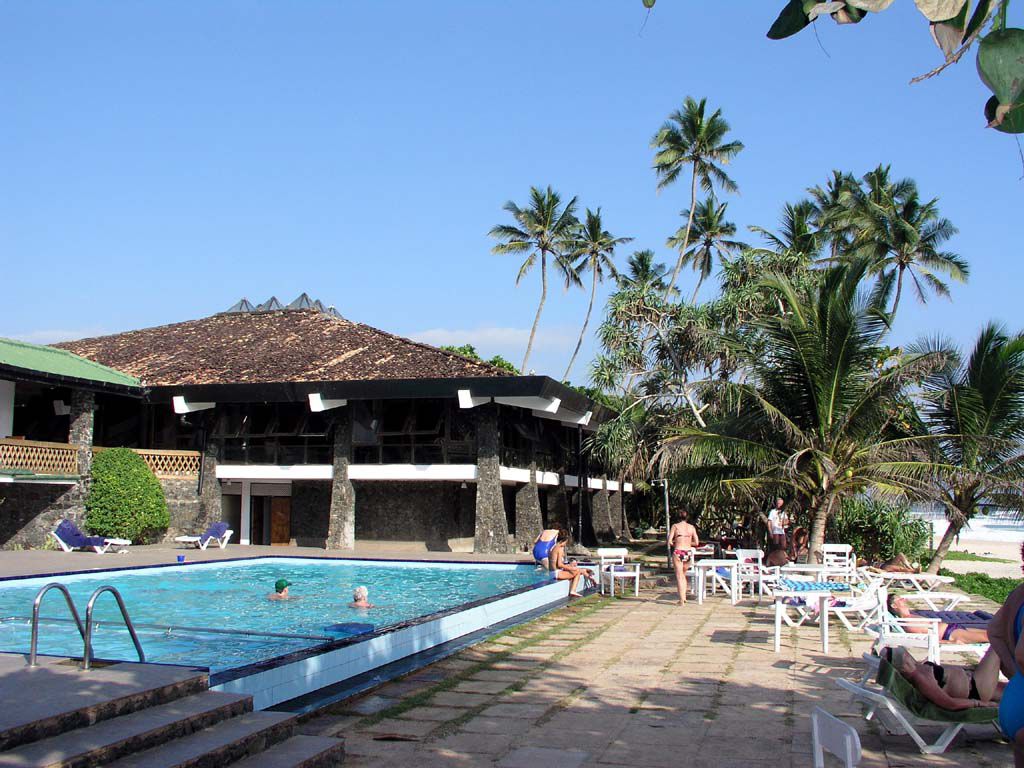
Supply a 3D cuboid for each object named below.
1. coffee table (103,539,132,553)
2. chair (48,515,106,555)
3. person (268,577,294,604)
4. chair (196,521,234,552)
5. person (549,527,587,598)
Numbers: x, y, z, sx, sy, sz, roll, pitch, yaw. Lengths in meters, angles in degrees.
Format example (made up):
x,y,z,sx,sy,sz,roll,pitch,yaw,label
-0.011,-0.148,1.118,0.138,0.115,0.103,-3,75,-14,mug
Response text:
x,y,z,sx,sy,sz,roll,pitch,yaw,label
-11.835,4.891,22.989,0.537,0.369,1.238,3,-10,-18,coffee table
-12.816,4.593,22.881,1.628,0.967,0.989,1,-3,0,chair
-4.980,4.506,16.515,0.421,0.434,0.703,3,-10,-17,person
-9.657,5.056,24.924,0.731,0.570,1.287,2,8,-18,chair
1.211,3.876,16.414,0.757,1.306,2.308,-1,-9,5,person
